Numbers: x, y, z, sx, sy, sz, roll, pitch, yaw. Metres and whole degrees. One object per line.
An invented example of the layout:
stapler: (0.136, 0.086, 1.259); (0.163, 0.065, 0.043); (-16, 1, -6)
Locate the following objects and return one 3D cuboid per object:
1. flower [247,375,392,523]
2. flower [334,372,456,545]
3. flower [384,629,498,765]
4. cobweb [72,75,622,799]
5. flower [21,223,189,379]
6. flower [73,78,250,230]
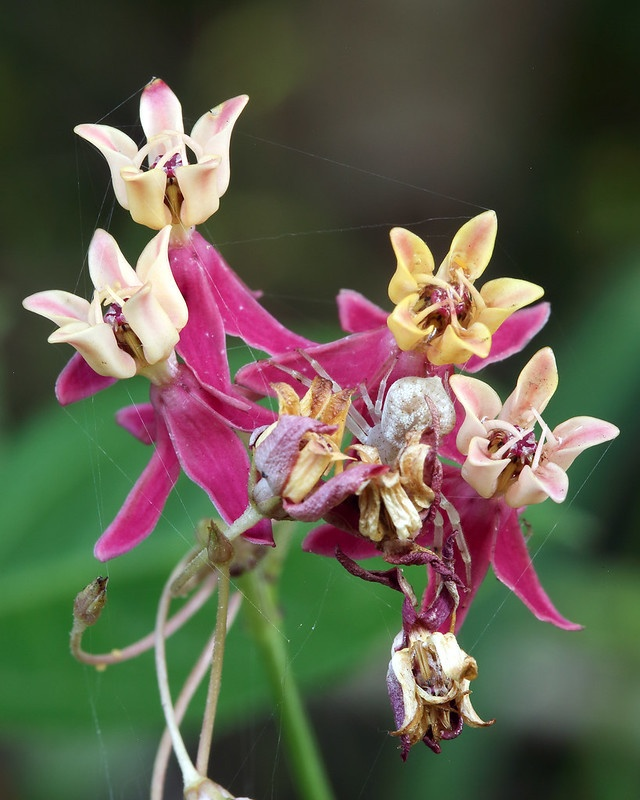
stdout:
flower: (-0.001, 0.042, 0.788); (0.125, 0.104, 0.079); (5, -8, -6)
flower: (0.087, 0.049, 0.850); (0.135, 0.119, 0.043); (2, -17, 42)
flower: (0.097, 0.230, 0.835); (0.099, 0.107, 0.052); (-15, -33, 8)
cobweb: (-0.064, 0.047, 1.109); (0.461, 0.682, 0.623); (-60, 5, 34)
flower: (-0.183, -0.088, 0.893); (0.141, 0.112, 0.138); (-14, -5, 10)
flower: (-0.138, -0.224, 0.994); (0.168, 0.110, 0.169); (6, 38, 14)
